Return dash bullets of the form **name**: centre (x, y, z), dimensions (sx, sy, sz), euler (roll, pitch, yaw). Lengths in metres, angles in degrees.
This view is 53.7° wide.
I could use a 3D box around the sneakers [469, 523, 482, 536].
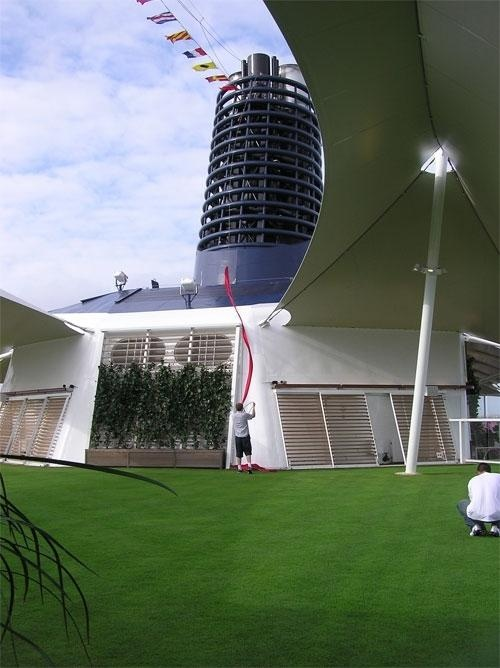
- **sneakers**: centre (2.094, 1.824, 4.635), dimensions (0.088, 0.106, 0.110), euler (9, 2, 5)
